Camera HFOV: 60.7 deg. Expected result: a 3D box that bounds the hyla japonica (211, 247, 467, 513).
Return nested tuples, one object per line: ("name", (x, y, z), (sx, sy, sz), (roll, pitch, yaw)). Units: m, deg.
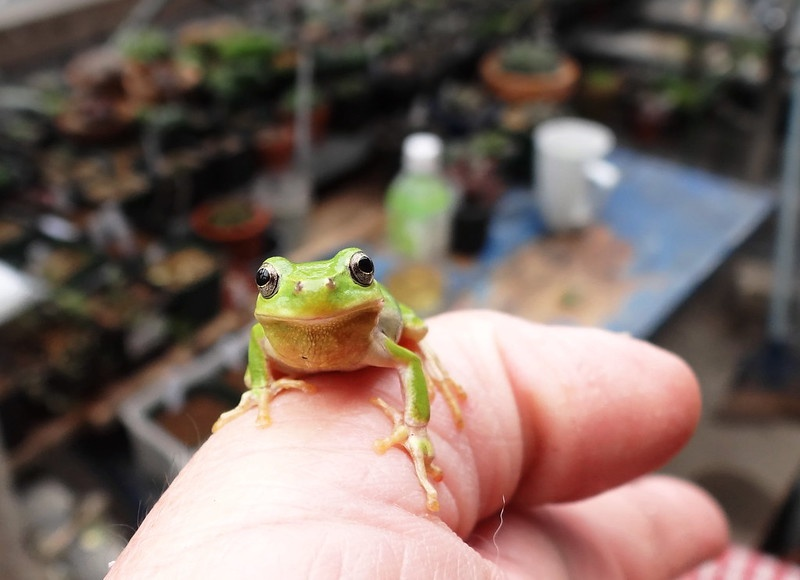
("hyla japonica", (-0.103, 0.131, 1.380), (0.503, 0.304, 0.407), (12, 46, 17))
